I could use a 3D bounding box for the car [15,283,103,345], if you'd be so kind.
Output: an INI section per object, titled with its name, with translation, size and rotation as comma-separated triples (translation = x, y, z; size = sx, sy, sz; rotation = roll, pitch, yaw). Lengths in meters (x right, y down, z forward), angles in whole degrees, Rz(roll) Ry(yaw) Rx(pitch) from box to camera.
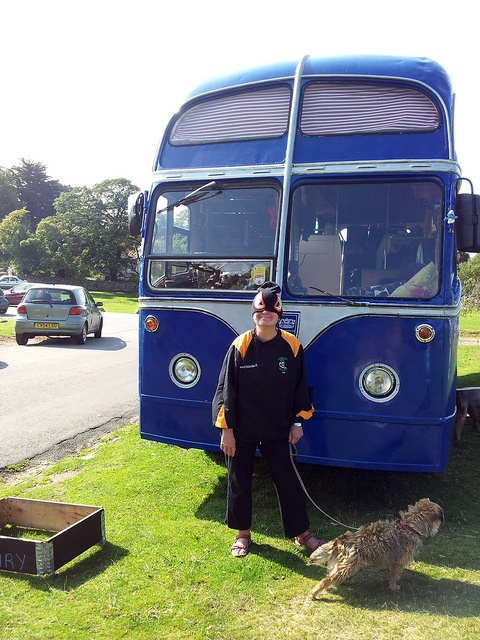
[car]
translation = -4.874, -0.244, 15.116
size = 1.351, 1.196, 2.386
rotation = 0, 7, 4

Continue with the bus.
[bus]
translation = 0.812, -0.562, 5.561
size = 2.055, 2.731, 3.610
rotation = 1, 4, 16

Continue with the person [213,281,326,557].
[person]
translation = 0.175, 0.634, 3.468
size = 0.676, 1.757, 0.358
rotation = 1, 2, 7

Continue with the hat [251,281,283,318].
[hat]
translation = 0.166, -0.134, 3.373
size = 0.176, 0.216, 0.224
rotation = 1, 3, -1
